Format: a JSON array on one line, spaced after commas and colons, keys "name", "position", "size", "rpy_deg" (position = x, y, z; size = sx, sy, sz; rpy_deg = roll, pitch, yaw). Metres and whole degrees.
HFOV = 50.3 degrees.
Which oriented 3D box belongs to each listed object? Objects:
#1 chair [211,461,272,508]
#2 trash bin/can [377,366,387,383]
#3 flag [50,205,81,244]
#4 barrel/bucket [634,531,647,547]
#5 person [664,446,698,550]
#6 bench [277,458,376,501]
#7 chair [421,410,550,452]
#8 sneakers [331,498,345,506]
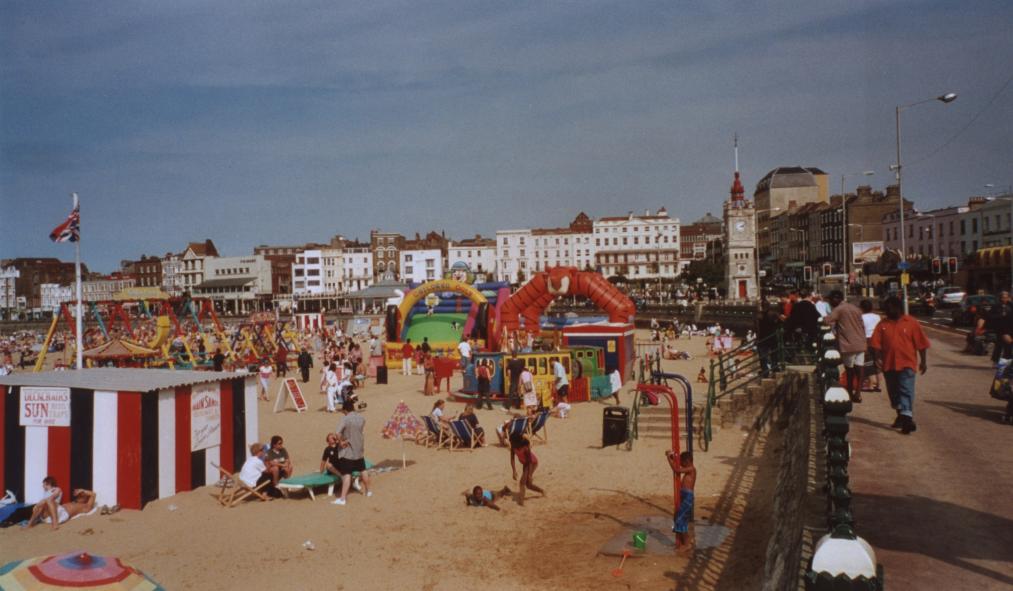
[{"name": "chair", "position": [-8.978, 6.334, 35.990], "size": [1.833, 1.089, 0.993], "rpy_deg": [-5, 6, -40]}, {"name": "trash bin/can", "position": [-6.030, 3.784, 51.550], "size": [0.405, 0.897, 0.480], "rpy_deg": [-3, 0, 3]}, {"name": "flag", "position": [-18.175, -2.905, 44.347], "size": [0.905, 1.508, 2.256], "rpy_deg": [-3, 0, -25]}, {"name": "barrel/bucket", "position": [4.041, 7.442, 32.910], "size": [0.497, 0.515, 0.652], "rpy_deg": [-3, 0, 6]}, {"name": "person", "position": [5.368, 6.153, 32.922], "size": [0.760, 2.774, 0.948], "rpy_deg": [-3, 0, 7]}, {"name": "bench", "position": [-6.300, 6.472, 36.788], "size": [3.845, 0.828, 2.309], "rpy_deg": [-7, -14, -6]}, {"name": "chair", "position": [-1.239, 5.070, 39.990], "size": [4.669, 1.329, 1.145], "rpy_deg": [-3, -4, -44]}, {"name": "sneakers", "position": [-5.557, 6.780, 35.464], "size": [0.487, 0.206, 0.164], "rpy_deg": [2, -11, 10]}]
